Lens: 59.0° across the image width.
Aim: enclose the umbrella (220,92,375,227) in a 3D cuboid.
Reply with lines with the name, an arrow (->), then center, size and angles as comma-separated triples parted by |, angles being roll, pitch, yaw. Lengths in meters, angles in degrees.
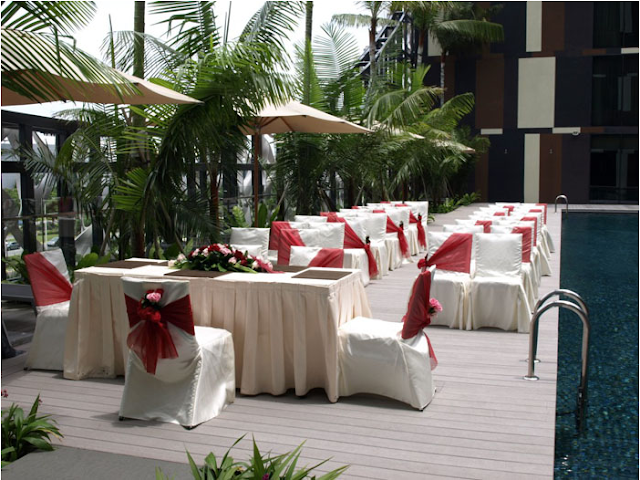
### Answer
umbrella -> -0.477, -1.438, 9.312 | 2.022, 2.031, 2.029 | 2, 1, 36
